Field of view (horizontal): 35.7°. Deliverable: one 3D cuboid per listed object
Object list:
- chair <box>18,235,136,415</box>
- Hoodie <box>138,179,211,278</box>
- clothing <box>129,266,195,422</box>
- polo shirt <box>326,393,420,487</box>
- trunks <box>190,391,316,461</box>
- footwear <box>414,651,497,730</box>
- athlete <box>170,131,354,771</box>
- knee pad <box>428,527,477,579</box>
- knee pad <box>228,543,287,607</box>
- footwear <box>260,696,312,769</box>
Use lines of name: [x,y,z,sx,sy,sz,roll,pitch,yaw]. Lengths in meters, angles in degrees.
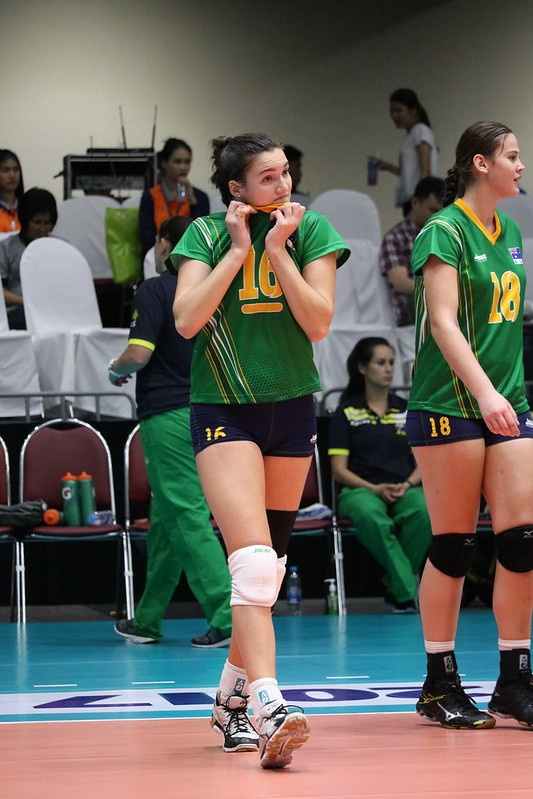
chair: [-1.373,-0.594,6.464,0.918,1.207,0.951,-7,13,-32]
Hoodie: [-0.832,-1.527,7.331,0.610,0.712,0.429,-13,27,-29]
clothing: [-0.519,-0.249,4.013,0.299,0.681,0.531,-3,-9,15]
polo shirt: [0.653,0.267,5.115,0.685,0.583,0.334,2,-13,-10]
trunks: [-0.034,0.040,1.750,0.277,0.153,0.144,4,17,-14]
footwear: [0.440,0.719,2.048,0.102,0.163,0.249,0,0,-32]
athlete: [-0.033,0.095,1.649,0.391,1.335,0.589,0,5,4]
knee pad: [0.462,0.389,2.127,0.136,0.114,0.124,2,9,-22]
knee pad: [-0.029,0.350,1.607,0.095,0.123,0.131,2,-31,-8]
footwear: [0.004,0.573,1.408,0.066,0.145,0.070,8,43,-21]
